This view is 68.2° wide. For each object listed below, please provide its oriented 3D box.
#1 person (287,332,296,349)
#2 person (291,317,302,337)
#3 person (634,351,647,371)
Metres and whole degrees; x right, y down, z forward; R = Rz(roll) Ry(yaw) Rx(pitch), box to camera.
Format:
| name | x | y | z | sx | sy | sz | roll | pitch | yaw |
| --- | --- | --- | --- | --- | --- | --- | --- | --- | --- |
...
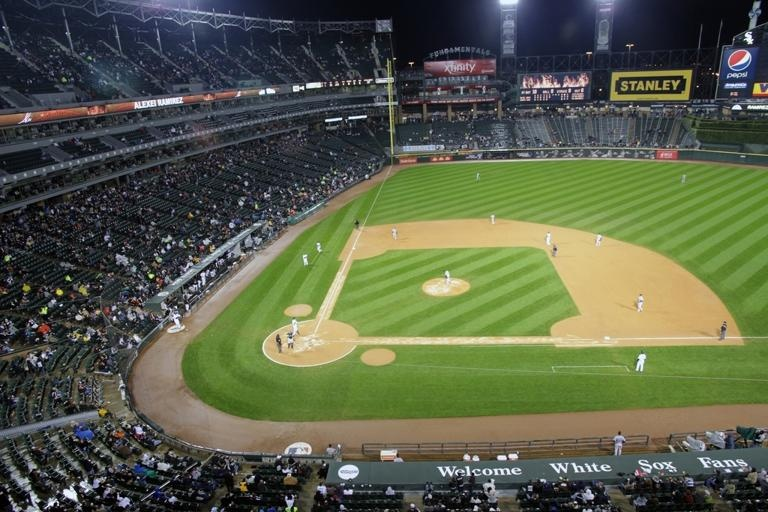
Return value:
| name | x | y | z | sx | sy | sz | roll | pitch | yaw |
| --- | --- | --- | --- | --- | --- | --- | --- | --- | --- |
| person | -6.906 | 6.184 | 41.868 | 0.773 | 0.298 | 1.079 | 9 | 50 | -9 |
| person | -6.931 | 5.218 | 43.427 | 0.712 | 1.307 | 1.869 | -9 | 19 | -9 |
| person | 17.321 | 6.964 | 38.057 | 0.661 | 1.408 | 1.225 | 3 | 21 | 22 |
